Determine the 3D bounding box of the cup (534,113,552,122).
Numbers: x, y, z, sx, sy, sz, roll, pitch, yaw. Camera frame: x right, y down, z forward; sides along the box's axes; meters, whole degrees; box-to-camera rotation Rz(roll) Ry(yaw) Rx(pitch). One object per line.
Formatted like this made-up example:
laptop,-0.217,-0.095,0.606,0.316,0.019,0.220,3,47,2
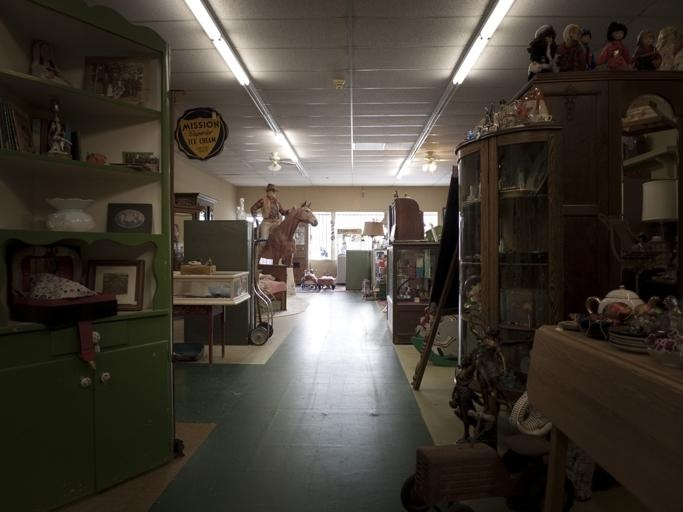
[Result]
cup,1.351,-0.918,3.403,0.094,0.074,0.197,2,6,21

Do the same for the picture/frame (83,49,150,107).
picture/frame,-1.493,-1.186,3.268,0.362,0.364,0.088,2,-3,1

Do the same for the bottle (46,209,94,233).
bottle,-1.673,-0.215,3.135,0.184,0.115,0.163,-3,6,-40

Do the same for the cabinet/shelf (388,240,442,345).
cabinet/shelf,0.880,0.442,6.044,0.493,1.113,1.150,2,-4,4

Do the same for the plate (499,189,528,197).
plate,1.164,-0.419,3.431,0.175,0.054,0.036,1,6,20

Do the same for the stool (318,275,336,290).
stool,-0.429,0.756,14.018,0.474,0.365,0.578,-1,6,-3

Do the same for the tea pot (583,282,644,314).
tea pot,1.536,0.242,2.919,0.320,0.236,0.224,-1,-2,21

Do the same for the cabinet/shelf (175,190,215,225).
cabinet/shelf,-2.270,-0.754,7.767,0.513,0.422,1.935,-2,6,-17

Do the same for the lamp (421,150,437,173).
lamp,2.007,-2.106,11.471,0.248,0.276,0.287,2,6,3

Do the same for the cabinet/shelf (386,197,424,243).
cabinet/shelf,0.848,-0.459,7.048,0.470,0.705,0.910,1,-2,0

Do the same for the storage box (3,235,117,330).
storage box,-1.665,0.200,3.174,0.454,0.635,0.610,-1,-2,18

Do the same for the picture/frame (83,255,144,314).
picture/frame,-1.482,0.201,3.299,0.304,0.336,0.022,-1,-13,-5

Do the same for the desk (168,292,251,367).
desk,-1.421,0.780,5.529,0.661,0.746,0.922,0,6,7

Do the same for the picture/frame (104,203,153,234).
picture/frame,-1.396,-0.239,3.334,0.191,0.154,0.028,0,-20,-4
